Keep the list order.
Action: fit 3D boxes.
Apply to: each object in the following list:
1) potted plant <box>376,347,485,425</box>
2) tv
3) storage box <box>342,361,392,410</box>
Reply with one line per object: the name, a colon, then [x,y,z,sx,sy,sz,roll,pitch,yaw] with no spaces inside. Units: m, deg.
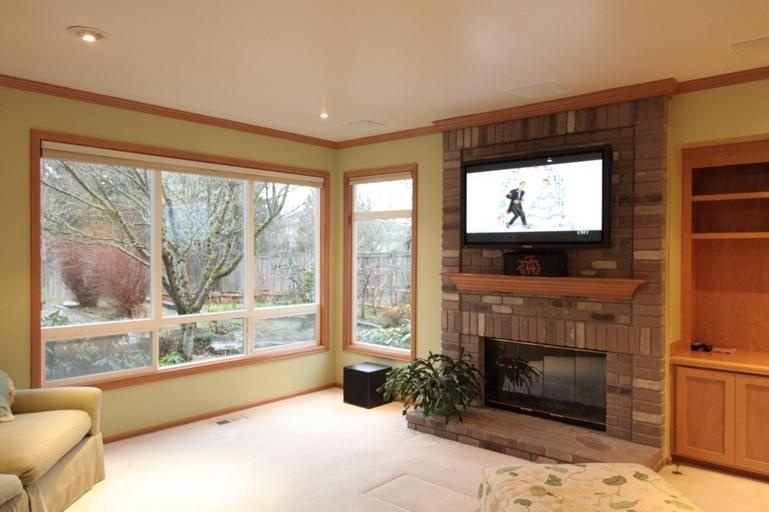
potted plant: [0.595,1.482,5.410,1.034,0.580,0.882,8,-16,-18]
tv: [1.605,-0.593,5.001,1.199,0.700,0.121,-2,-4,32]
storage box: [-0.192,1.559,6.129,0.525,0.475,0.509,-5,5,-42]
